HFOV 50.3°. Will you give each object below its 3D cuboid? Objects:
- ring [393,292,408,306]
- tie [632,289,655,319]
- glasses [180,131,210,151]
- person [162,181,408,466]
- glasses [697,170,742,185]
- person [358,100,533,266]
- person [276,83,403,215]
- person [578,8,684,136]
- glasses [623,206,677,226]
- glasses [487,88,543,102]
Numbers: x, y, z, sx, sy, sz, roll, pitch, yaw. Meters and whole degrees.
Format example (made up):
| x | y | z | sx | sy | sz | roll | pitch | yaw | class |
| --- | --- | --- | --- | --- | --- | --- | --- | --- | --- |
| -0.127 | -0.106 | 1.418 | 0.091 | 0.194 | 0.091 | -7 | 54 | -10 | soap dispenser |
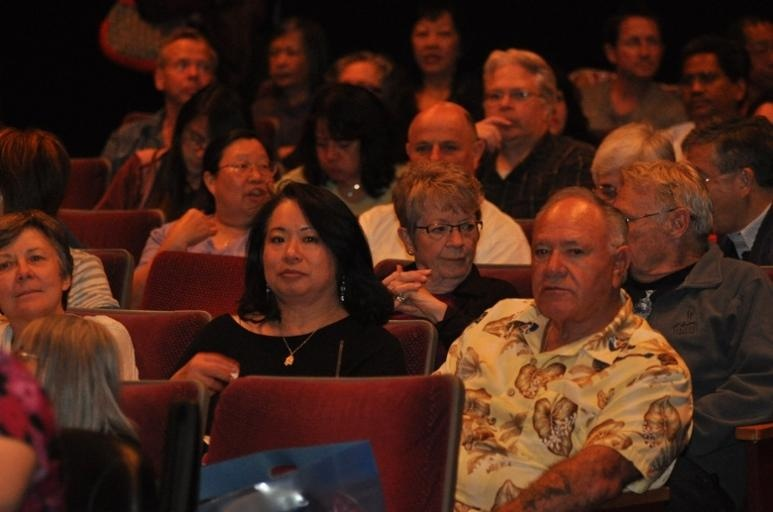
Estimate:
| x | y | z | sx | sy | sz | roll | pitch | yaw | class |
| --- | --- | --- | --- | --- | --- | --- | --- | --- | --- |
| 0.059 | 0.199 | 3.827 | 0.106 | 0.039 | 0.025 | -22 | 10 | 31 | ring |
| 1.139 | 0.215 | 3.623 | 0.081 | 0.124 | 0.038 | 25 | 4 | 37 | tie |
| -1.259 | -0.750 | 5.324 | 0.139 | 0.097 | 0.122 | 4 | 3 | 30 | glasses |
| -0.379 | 0.193 | 3.610 | 1.082 | 0.890 | 0.522 | 0 | -6 | 16 | person |
| 1.693 | -0.402 | 4.162 | 0.192 | 0.053 | 0.180 | -1 | 0 | 5 | glasses |
| 0.291 | -0.309 | 4.785 | 1.413 | 1.069 | 0.707 | 3 | 7 | 11 | person |
| -0.236 | -0.715 | 5.233 | 0.864 | 0.814 | 0.496 | 8 | 38 | 17 | person |
| 1.908 | -1.388 | 6.376 | 1.153 | 0.935 | 0.516 | -1 | 9 | 2 | person |
| 1.155 | -0.180 | 3.580 | 0.177 | 0.048 | 0.169 | -13 | -11 | 11 | glasses |
| 0.783 | -1.012 | 5.189 | 0.336 | 0.092 | 0.082 | -2 | -5 | 21 | glasses |
